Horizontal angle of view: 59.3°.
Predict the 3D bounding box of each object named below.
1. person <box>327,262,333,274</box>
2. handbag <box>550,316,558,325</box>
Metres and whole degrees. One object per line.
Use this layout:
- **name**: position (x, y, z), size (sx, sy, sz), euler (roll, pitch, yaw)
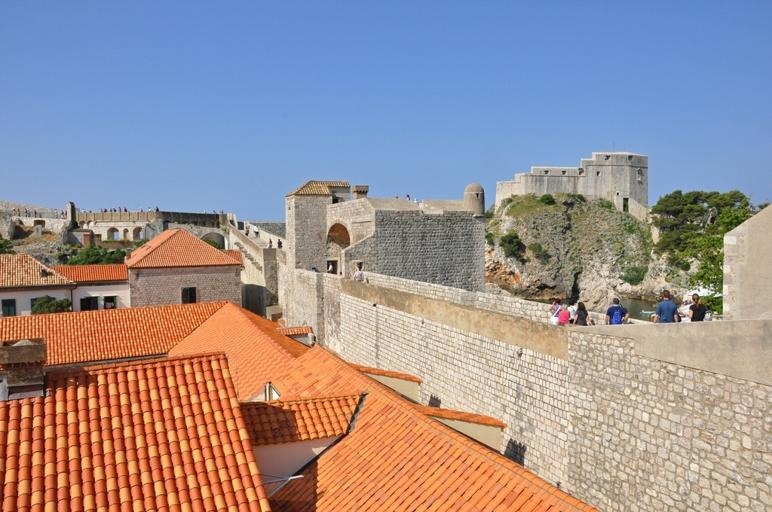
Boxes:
- **person**: position (-2.826, 0.548, 33.896), size (0.258, 0.806, 0.517), euler (-3, 4, 2)
- **handbag**: position (3.800, 1.454, 15.346), size (0.178, 0.163, 0.172), euler (0, 7, 1)
